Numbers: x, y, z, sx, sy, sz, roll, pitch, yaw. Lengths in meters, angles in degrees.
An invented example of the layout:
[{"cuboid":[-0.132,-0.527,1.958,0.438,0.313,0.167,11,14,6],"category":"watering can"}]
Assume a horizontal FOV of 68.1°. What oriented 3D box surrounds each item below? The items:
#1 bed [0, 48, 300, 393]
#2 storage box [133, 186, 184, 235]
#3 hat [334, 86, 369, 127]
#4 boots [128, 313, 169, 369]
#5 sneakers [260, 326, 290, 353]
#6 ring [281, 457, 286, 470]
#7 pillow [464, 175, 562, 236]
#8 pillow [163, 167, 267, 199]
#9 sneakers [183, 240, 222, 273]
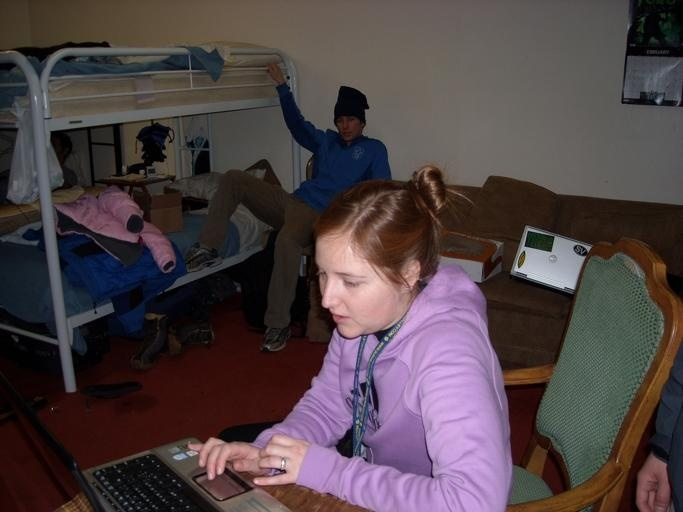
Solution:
[{"cuboid":[-1.320,-0.224,3.630,1.275,1.953,2.338,5,17,25],"category":"bed"},{"cuboid":[-1.444,-0.353,3.835,0.336,0.250,0.327,5,14,24],"category":"storage box"},{"cuboid":[0.085,-1.206,4.117,0.221,0.263,0.294,8,1,23],"category":"hat"},{"cuboid":[-1.336,0.572,3.494,0.136,0.307,0.417,2,24,13],"category":"boots"},{"cuboid":[-0.488,0.616,3.727,0.099,0.120,0.249,1,11,10],"category":"sneakers"},{"cuboid":[-0.145,0.524,1.271,0.006,0.024,0.017,3,-8,-2],"category":"ring"},{"cuboid":[1.303,-0.365,3.825,0.474,0.524,0.185,10,-16,26],"category":"pillow"},{"cuboid":[-1.366,-0.673,4.842,0.479,0.183,0.585,8,19,27],"category":"pillow"},{"cuboid":[-1.053,0.016,3.841,0.106,0.140,0.305,-5,6,31],"category":"sneakers"}]
